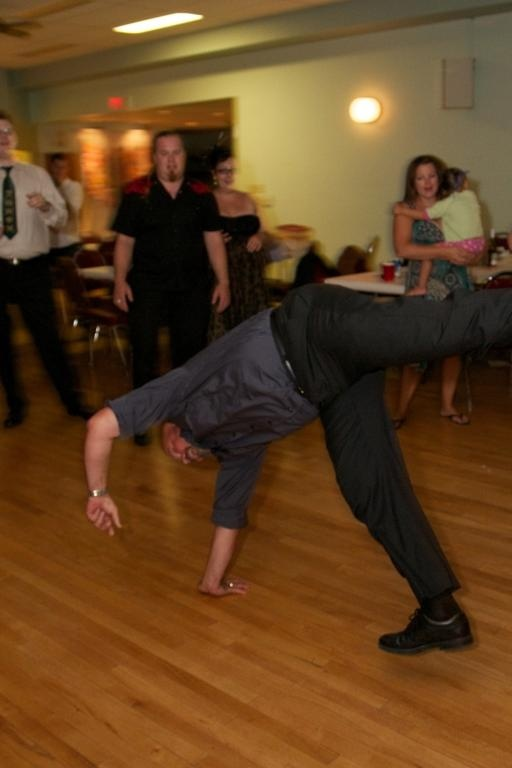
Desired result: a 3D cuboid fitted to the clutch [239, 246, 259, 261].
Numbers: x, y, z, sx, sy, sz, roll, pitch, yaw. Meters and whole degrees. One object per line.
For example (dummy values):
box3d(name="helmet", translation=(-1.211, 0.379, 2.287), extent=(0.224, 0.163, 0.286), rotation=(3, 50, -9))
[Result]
box3d(name="clutch", translation=(-0.039, -0.725, 3.457), extent=(0.092, 0.076, 0.028), rotation=(12, -7, -31))

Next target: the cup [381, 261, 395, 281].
box3d(name="cup", translation=(0.814, -0.666, 3.672), extent=(0.090, 0.121, 0.129), rotation=(-3, 6, -14))

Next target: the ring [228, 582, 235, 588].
box3d(name="ring", translation=(-0.073, 0.597, 1.831), extent=(0.011, 0.010, 0.005), rotation=(-23, -32, 18))

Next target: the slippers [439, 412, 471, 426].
box3d(name="slippers", translation=(1.155, 0.198, 3.553), extent=(0.103, 0.023, 0.057), rotation=(20, 44, 40))

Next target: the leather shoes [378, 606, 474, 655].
box3d(name="leather shoes", translation=(0.388, 0.568, 1.442), extent=(0.264, 0.113, 0.097), rotation=(-11, -19, 31))

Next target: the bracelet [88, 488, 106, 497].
box3d(name="bracelet", translation=(-0.336, 0.229, 1.307), extent=(0.032, 0.025, 0.032), rotation=(-4, 8, -14))

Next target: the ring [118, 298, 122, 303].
box3d(name="ring", translation=(-0.692, -0.425, 3.115), extent=(0.022, 0.018, 0.007), rotation=(5, 5, 10))

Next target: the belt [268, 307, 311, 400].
box3d(name="belt", translation=(0.064, -0.062, 1.284), extent=(0.051, 0.188, 0.123), rotation=(-7, 9, -29))

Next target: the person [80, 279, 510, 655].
box3d(name="person", translation=(0.122, 0.226, 1.413), extent=(0.848, 0.888, 0.573), rotation=(1, 9, 20))

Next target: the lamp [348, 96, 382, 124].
box3d(name="lamp", translation=(1.011, -2.525, 5.669), extent=(0.359, 0.230, 0.081), rotation=(9, 19, 36))

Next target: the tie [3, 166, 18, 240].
box3d(name="tie", translation=(-1.352, -0.985, 3.353), extent=(0.080, 0.388, 0.086), rotation=(-5, 9, -16))

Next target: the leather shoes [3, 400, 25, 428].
box3d(name="leather shoes", translation=(-1.467, 0.190, 3.753), extent=(0.073, 0.066, 0.234), rotation=(41, 31, -9))
